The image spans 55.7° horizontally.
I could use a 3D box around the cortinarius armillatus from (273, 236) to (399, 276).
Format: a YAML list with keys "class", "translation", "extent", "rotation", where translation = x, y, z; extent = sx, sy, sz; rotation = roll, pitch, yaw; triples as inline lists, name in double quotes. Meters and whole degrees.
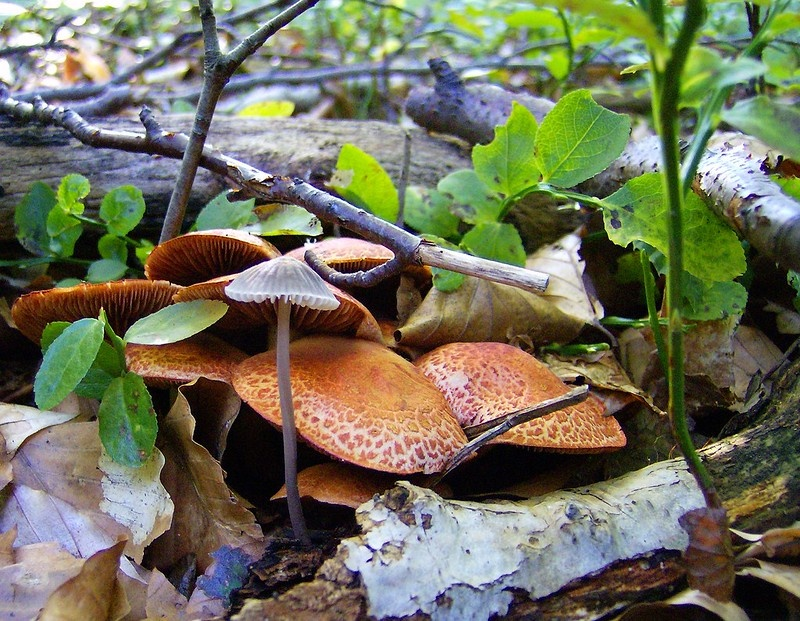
- class: "cortinarius armillatus"
  translation: [-0.219, -0.193, 2.784]
  extent: [0.239, 0.063, 0.242]
  rotation: [14, 3, 40]

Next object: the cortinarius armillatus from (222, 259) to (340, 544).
- class: "cortinarius armillatus"
  translation: [-0.402, 0.307, 2.418]
  extent: [0.427, 0.906, 0.355]
  rotation: [5, 4, 13]

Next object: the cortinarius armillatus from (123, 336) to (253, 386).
- class: "cortinarius armillatus"
  translation: [-0.737, 0.179, 2.747]
  extent: [0.453, 0.168, 0.473]
  rotation: [-2, 11, -10]

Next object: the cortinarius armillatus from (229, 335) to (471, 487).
- class: "cortinarius armillatus"
  translation: [-0.163, 0.310, 2.477]
  extent: [0.552, 0.155, 0.484]
  rotation: [18, 14, 19]

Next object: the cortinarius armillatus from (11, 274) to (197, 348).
- class: "cortinarius armillatus"
  translation: [-1.053, -0.010, 2.884]
  extent: [0.636, 0.230, 0.615]
  rotation: [-2, -6, 2]
